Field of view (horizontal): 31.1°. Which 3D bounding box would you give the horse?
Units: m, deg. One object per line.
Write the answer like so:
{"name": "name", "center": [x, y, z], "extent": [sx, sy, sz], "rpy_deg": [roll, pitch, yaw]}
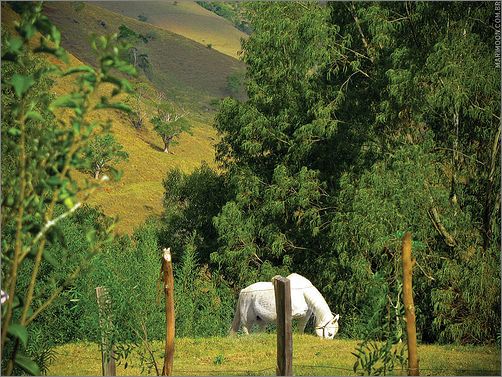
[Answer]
{"name": "horse", "center": [0.867, 3.254, 23.871], "extent": [2.931, 1.889, 1.003], "rpy_deg": [-11, -15, 28]}
